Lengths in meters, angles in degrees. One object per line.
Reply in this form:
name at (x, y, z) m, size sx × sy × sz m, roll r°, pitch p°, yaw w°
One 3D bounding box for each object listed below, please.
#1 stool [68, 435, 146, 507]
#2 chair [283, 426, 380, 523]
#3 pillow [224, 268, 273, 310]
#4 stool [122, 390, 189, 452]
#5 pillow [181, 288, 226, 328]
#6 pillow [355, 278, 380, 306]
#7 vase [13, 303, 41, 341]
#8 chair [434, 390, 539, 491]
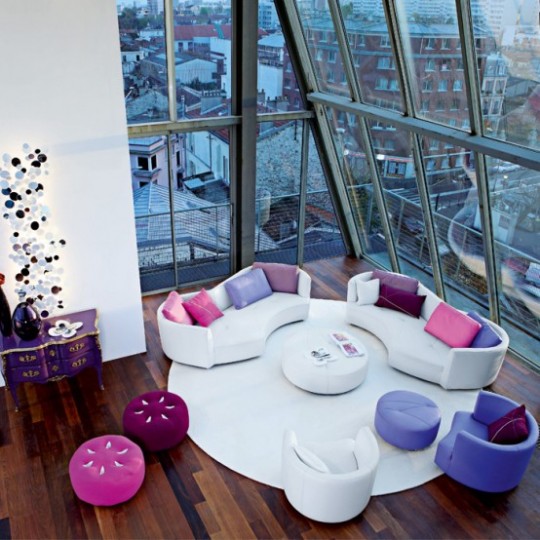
stool at (-1.487, 1.825, 4.139) m, size 0.621 × 0.335 × 0.561 m, roll -7°, pitch 20°, yaw -9°
chair at (0.538, 1.821, 3.995) m, size 0.821 × 0.626 × 0.593 m, roll -7°, pitch 20°, yaw -10°
pillow at (-0.339, 0.264, 6.782) m, size 0.221 × 0.492 × 0.826 m, roll -27°, pitch -2°, yaw 40°
stool at (-1.191, 1.571, 4.710) m, size 0.620 × 0.334 × 0.580 m, roll 5°, pitch 22°, yaw 23°
pillow at (-0.924, 0.533, 6.140) m, size 0.141 × 0.435 × 0.466 m, roll -37°, pitch 27°, yaw 17°
pillow at (1.467, 0.331, 6.785) m, size 0.343 × 0.342 × 0.134 m, roll -5°, pitch 18°, yaw -11°
vase at (-2.727, 0.575, 5.018) m, size 0.266 × 0.403 × 0.273 m, roll 12°, pitch 22°, yaw 26°
chair at (2.034, 1.762, 4.444) m, size 0.855 × 0.679 × 0.898 m, roll 15°, pitch 40°, yaw 26°
